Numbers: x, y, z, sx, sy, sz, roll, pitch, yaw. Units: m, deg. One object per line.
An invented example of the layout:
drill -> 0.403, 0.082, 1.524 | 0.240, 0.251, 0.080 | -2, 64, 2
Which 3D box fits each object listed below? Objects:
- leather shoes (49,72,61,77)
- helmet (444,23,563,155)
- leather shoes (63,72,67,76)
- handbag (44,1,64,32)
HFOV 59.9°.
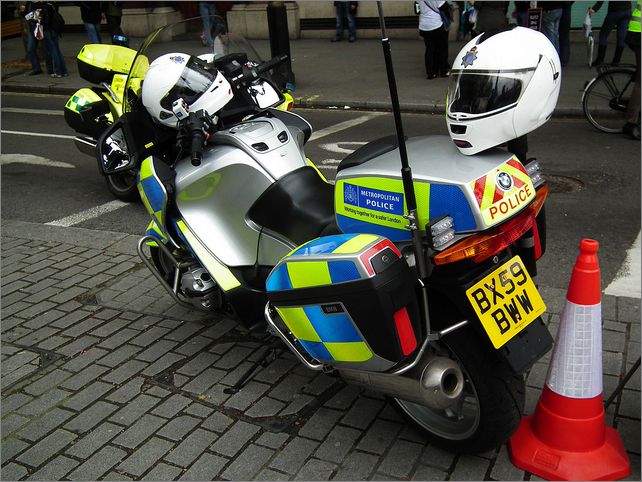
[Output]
leather shoes -> -7.332, -4.619, 15.544 | 0.372, 0.150, 0.117 | 8, -2, 32
helmet -> 0.985, -0.810, 3.000 | 0.587, 0.614, 0.342 | -1, 24, 11
leather shoes -> -7.091, -4.652, 15.561 | 0.126, 0.070, 0.061 | 23, 28, 39
handbag -> -7.117, -6.003, 14.973 | 0.366, 0.853, 0.835 | -14, 25, -19
